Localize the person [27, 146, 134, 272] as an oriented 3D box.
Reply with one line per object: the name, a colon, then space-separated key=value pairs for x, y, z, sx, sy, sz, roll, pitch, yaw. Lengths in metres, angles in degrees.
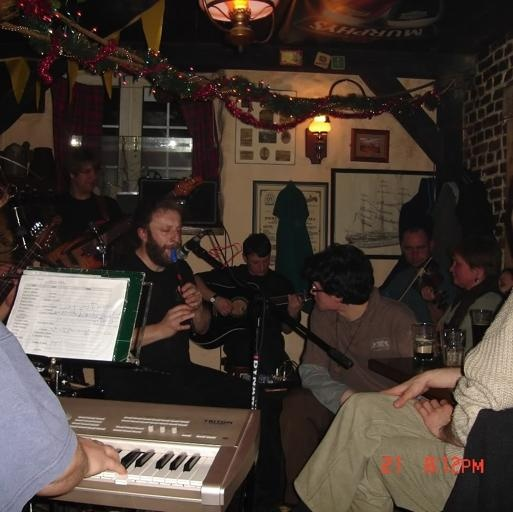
person: x=-1.437 y=-0.328 z=4.476 sx=0.535 sy=1.109 sz=0.652 roll=2 pitch=7 yaw=-35

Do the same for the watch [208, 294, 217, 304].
watch: x=-0.299 y=0.299 z=3.723 sx=0.039 sy=0.060 sz=0.057 roll=29 pitch=-30 yaw=11

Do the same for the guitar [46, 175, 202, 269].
guitar: x=-0.985 y=-0.336 z=4.348 sx=1.371 sy=0.218 sz=0.557 roll=-37 pitch=44 yaw=-10

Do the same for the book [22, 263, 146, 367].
book: x=-0.656 y=0.206 z=2.130 sx=0.466 sy=0.321 sz=0.328 roll=2 pitch=8 yaw=-3

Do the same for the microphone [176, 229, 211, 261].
microphone: x=-0.335 y=-0.051 z=2.803 sx=0.165 sy=0.158 sz=0.353 roll=0 pitch=5 yaw=-9

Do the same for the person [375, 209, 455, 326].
person: x=1.362 y=0.097 z=4.614 sx=0.632 sy=1.050 sz=0.571 roll=5 pitch=7 yaw=21

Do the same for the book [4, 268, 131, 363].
book: x=-0.687 y=0.182 z=2.022 sx=0.440 sy=0.291 sz=0.306 roll=1 pitch=8 yaw=-8

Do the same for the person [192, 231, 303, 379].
person: x=-0.075 y=0.388 z=3.886 sx=0.697 sy=1.068 sz=0.580 roll=2 pitch=6 yaw=-19
